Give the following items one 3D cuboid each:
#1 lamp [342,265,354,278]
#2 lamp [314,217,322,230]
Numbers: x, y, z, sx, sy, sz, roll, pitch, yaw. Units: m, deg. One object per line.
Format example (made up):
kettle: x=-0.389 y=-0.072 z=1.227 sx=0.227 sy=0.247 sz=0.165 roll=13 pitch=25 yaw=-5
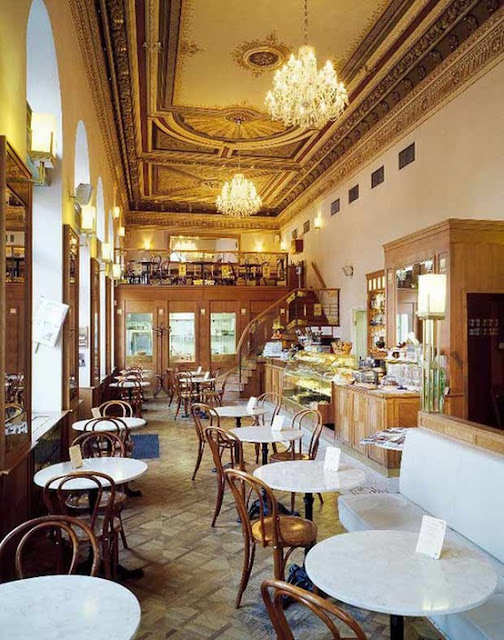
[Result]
lamp: x=2.369 y=-1.219 z=11.458 sx=0.179 sy=0.319 sz=0.307 roll=4 pitch=2 yaw=11
lamp: x=1.921 y=-2.877 z=13.742 sx=0.128 sy=0.389 sz=0.452 roll=1 pitch=-3 yaw=-7
